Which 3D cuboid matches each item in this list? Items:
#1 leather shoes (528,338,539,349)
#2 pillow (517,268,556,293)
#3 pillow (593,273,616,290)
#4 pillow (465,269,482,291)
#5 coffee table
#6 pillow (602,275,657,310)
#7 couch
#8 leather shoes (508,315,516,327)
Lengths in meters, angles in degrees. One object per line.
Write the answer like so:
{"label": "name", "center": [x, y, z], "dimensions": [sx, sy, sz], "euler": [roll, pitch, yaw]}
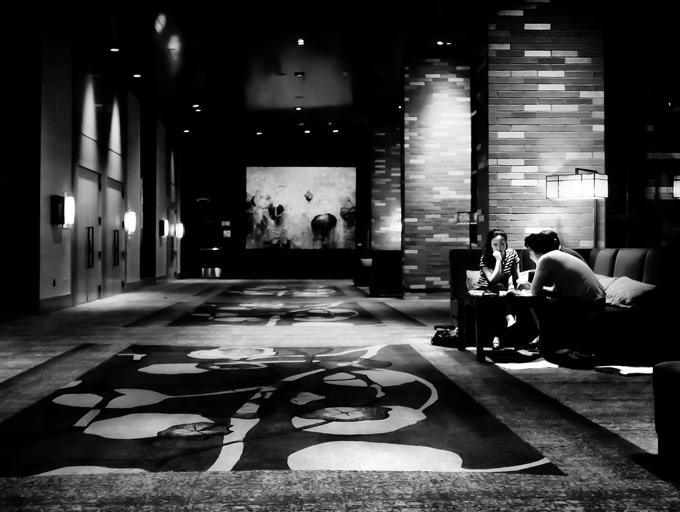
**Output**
{"label": "leather shoes", "center": [2.140, 0.965, 5.948], "dimensions": [0.134, 0.051, 0.150], "euler": [-23, 1, 23]}
{"label": "pillow", "center": [2.226, 0.280, 6.136], "dimensions": [0.360, 0.335, 0.263], "euler": [-4, 5, 19]}
{"label": "pillow", "center": [2.926, 0.287, 5.955], "dimensions": [0.277, 0.082, 0.294], "euler": [-2, 12, 20]}
{"label": "pillow", "center": [1.722, 0.314, 6.969], "dimensions": [0.131, 0.229, 0.297], "euler": [7, -5, 0]}
{"label": "coffee table", "center": [1.800, 0.657, 5.755], "dimensions": [0.763, 0.543, 0.572], "euler": [-6, 0, 13]}
{"label": "pillow", "center": [2.891, 0.379, 5.473], "dimensions": [0.367, 0.263, 0.597], "euler": [-1, 3, -5]}
{"label": "couch", "center": [2.342, 0.596, 5.663], "dimensions": [1.269, 0.925, 1.748], "euler": [1, -2, 7]}
{"label": "leather shoes", "center": [1.938, 0.757, 6.160], "dimensions": [0.105, 0.092, 0.122], "euler": [-2, 1, 1]}
